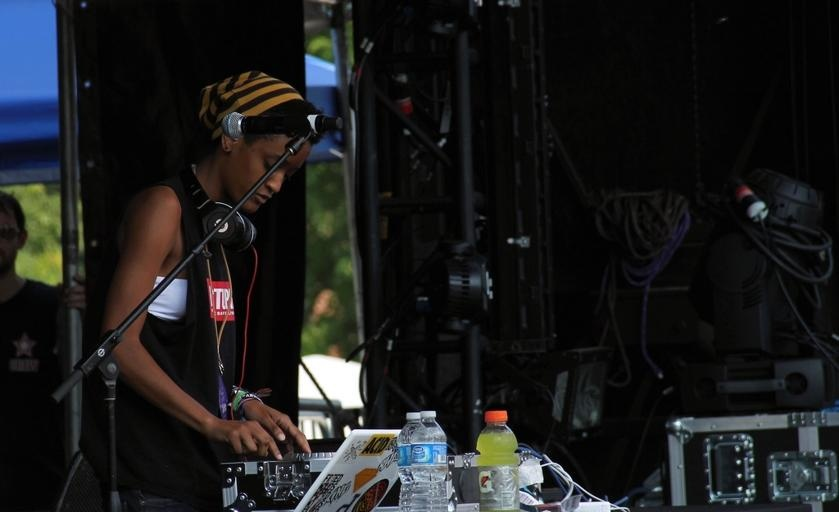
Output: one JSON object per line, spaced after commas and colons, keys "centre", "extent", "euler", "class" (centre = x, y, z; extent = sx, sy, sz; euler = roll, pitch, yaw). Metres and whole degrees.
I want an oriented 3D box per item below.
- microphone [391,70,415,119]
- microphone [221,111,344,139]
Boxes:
{"centre": [-0.088, -0.981, 7.278], "extent": [0.129, 0.193, 0.082], "euler": [-2, -1, -14], "class": "microphone"}
{"centre": [-0.667, -0.619, 5.848], "extent": [0.604, 0.171, 0.210], "euler": [0, 3, 20], "class": "microphone"}
